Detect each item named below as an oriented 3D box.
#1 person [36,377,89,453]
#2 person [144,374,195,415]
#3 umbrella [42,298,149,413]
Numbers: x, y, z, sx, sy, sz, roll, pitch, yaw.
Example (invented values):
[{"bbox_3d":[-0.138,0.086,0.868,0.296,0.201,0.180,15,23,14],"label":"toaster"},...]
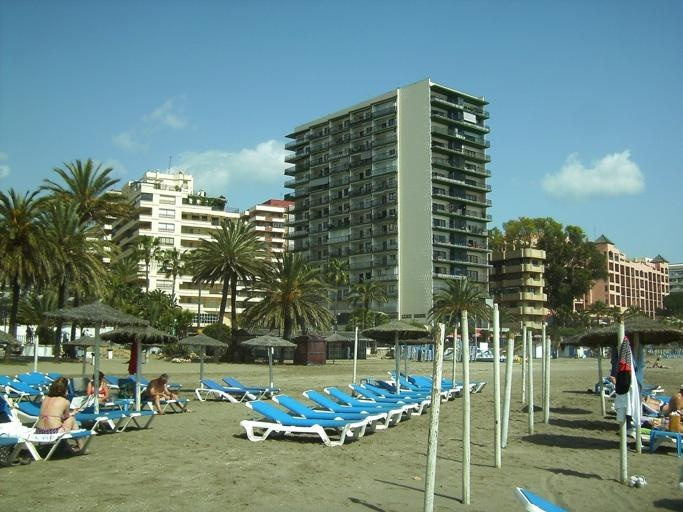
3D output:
[{"bbox_3d":[-5.479,2.925,14.049,0.811,1.029,0.924,0,-10,0],"label":"person"},{"bbox_3d":[-4.845,3.740,19.549,1.287,0.911,0.877,-8,-12,38],"label":"person"},{"bbox_3d":[-5.843,2.468,17.954,2.736,2.848,2.642,0,-9,2],"label":"umbrella"}]
